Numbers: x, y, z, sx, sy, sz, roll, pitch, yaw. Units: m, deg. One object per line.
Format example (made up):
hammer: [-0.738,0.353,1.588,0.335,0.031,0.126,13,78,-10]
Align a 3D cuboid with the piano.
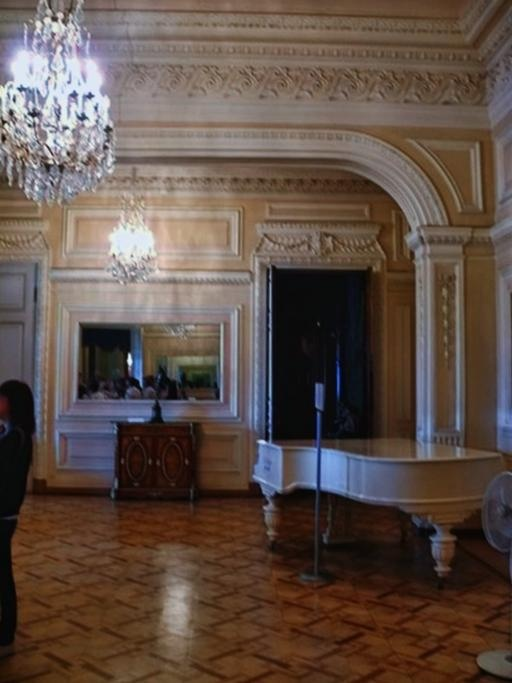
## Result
piano: [0.802,1.133,4.656,0.861,0.850,1.615,3,-4,-45]

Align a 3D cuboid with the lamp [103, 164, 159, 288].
lamp: [-1.292,-1.253,7.273,0.550,1.344,1.525,1,-3,-13]
